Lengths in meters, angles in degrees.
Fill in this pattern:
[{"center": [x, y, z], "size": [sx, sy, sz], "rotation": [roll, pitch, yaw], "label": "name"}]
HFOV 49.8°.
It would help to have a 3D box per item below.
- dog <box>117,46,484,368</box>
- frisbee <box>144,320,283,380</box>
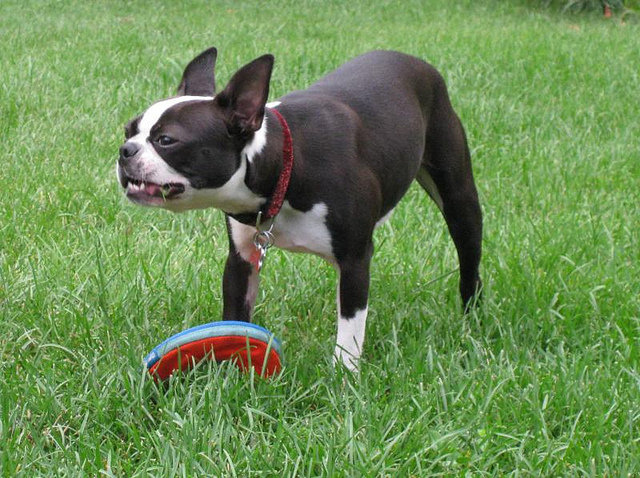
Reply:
[{"center": [-0.123, -0.336, 4.394], "size": [1.022, 1.870, 3.172], "rotation": [0, -1, 42], "label": "dog"}, {"center": [-0.553, 0.556, 3.417], "size": [0.619, 0.338, 0.085], "rotation": [0, 32, -17], "label": "frisbee"}]
